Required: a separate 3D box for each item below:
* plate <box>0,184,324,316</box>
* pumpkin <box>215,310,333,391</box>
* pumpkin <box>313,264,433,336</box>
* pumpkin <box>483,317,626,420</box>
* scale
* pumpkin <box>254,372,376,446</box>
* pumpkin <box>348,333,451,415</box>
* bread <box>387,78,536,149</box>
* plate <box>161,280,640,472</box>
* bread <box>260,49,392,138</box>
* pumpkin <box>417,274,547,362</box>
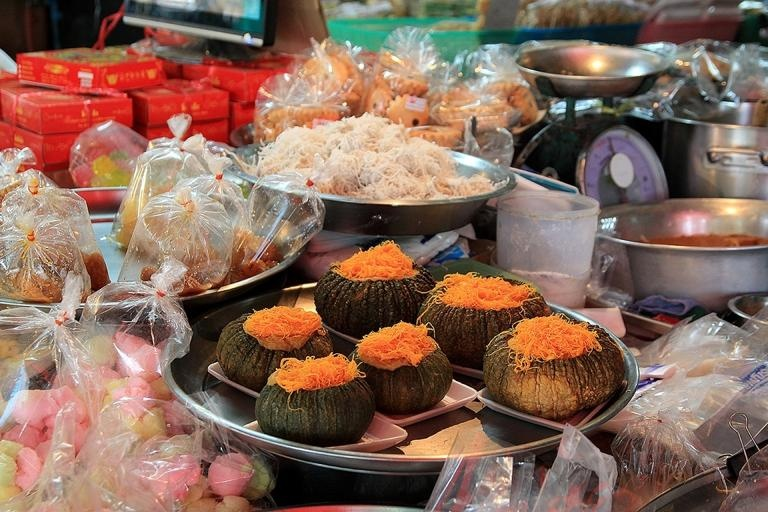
[{"bbox_3d":[-0.416,0.008,1.084,0.346,0.035,0.330,6,15,7],"label":"plate"},{"bbox_3d":[-0.164,0.113,0.838,0.145,0.076,0.126,-9,32,-25],"label":"pumpkin"},{"bbox_3d":[-0.017,0.053,0.991,0.134,0.062,0.131,7,18,24],"label":"pumpkin"},{"bbox_3d":[0.265,0.163,0.895,0.218,0.109,0.224,-3,15,7],"label":"pumpkin"},{"bbox_3d":[0.561,-0.309,1.582,0.391,0.429,0.361,-19,26,-31],"label":"scale"},{"bbox_3d":[-0.100,0.218,0.814,0.159,0.082,0.160,-1,-2,31],"label":"pumpkin"},{"bbox_3d":[0.021,0.161,0.866,0.125,0.080,0.120,-1,7,-7],"label":"pumpkin"},{"bbox_3d":[0.247,-0.400,1.527,0.245,0.095,0.278,5,19,27],"label":"bread"},{"bbox_3d":[0.067,0.097,0.788,0.363,0.039,0.369,10,12,37],"label":"plate"},{"bbox_3d":[-0.197,-0.432,1.508,0.332,0.117,0.240,-29,23,3],"label":"bread"},{"bbox_3d":[0.178,0.111,0.986,0.210,0.114,0.203,0,22,3],"label":"pumpkin"}]
